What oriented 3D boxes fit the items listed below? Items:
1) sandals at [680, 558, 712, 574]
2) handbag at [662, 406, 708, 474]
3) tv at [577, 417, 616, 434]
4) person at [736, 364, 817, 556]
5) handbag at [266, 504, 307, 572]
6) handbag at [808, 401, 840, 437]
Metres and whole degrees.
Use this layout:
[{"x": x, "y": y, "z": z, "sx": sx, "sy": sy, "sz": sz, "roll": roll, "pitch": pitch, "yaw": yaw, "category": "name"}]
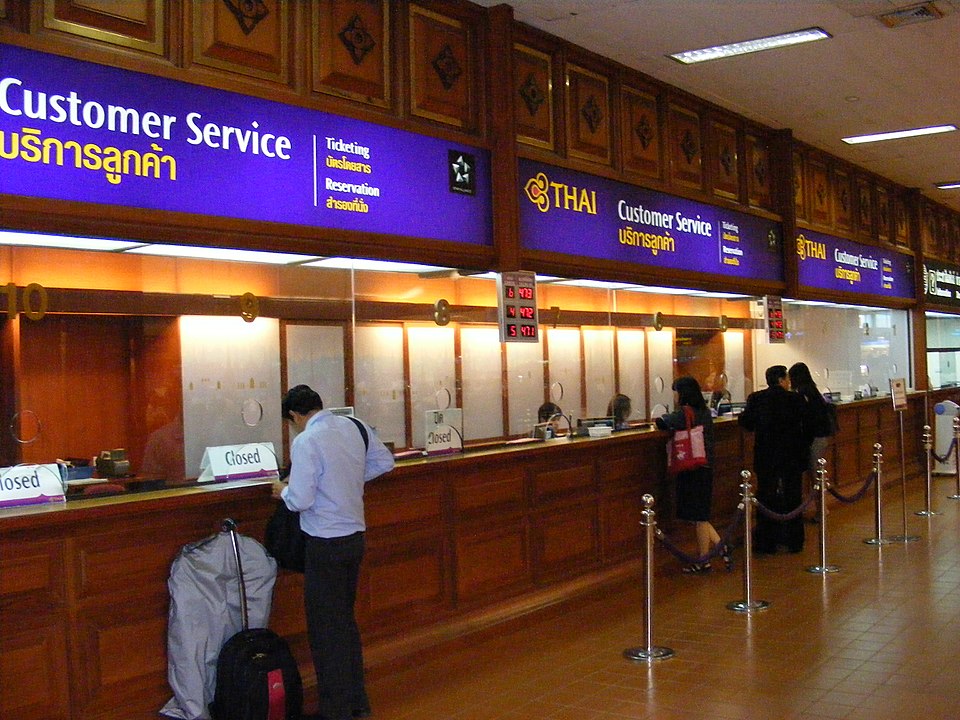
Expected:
[{"x": 1.979, "y": 1.850, "z": 7.301, "sx": 0.272, "sy": 0.118, "sz": 0.464, "roll": -1, "pitch": 1, "yaw": 15, "category": "sandals"}, {"x": 1.908, "y": 0.727, "z": 7.388, "sx": 0.346, "sy": 0.597, "sz": 0.235, "roll": -1, "pitch": 0, "yaw": 17, "category": "handbag"}, {"x": 1.055, "y": 0.604, "z": 7.439, "sx": 0.161, "sy": 0.162, "sz": 0.456, "roll": -1, "pitch": 1, "yaw": 43, "category": "tv"}, {"x": 2.971, "y": 0.974, "z": 8.008, "sx": 0.552, "sy": 1.789, "sz": 0.482, "roll": -2, "pitch": 0, "yaw": -39, "category": "person"}, {"x": -1.102, "y": 0.997, "z": 4.580, "sx": 0.123, "sy": 0.352, "sz": 0.272, "roll": 3, "pitch": 7, "yaw": 21, "category": "handbag"}, {"x": 3.627, "y": 0.614, "z": 8.483, "sx": 0.217, "sy": 0.566, "sz": 0.533, "roll": -2, "pitch": -2, "yaw": 39, "category": "handbag"}]
